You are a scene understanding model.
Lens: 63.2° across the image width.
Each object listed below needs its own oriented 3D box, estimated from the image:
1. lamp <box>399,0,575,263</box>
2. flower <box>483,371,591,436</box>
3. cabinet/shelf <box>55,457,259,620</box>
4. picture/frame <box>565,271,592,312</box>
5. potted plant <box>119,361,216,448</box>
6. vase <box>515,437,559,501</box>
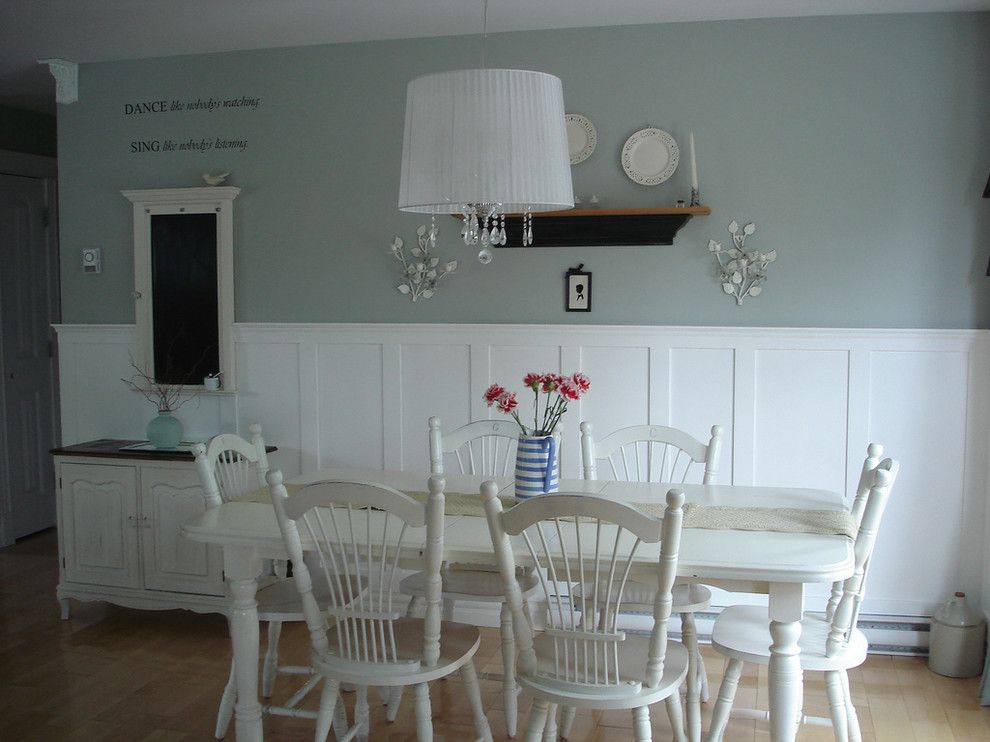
[{"bbox_3d":[-0.024,-0.892,3.219,0.759,1.195,0.735,-2,5,-11],"label":"lamp"},{"bbox_3d":[0.188,0.186,3.542,0.393,0.406,0.380,1,7,13],"label":"flower"},{"bbox_3d":[-1.997,0.914,4.754,1.047,0.977,0.421,2,8,5],"label":"cabinet/shelf"},{"bbox_3d":[0.465,-0.449,4.503,0.214,0.315,0.033,0,4,5],"label":"picture/frame"},{"bbox_3d":[-2.046,0.199,4.875,0.681,0.498,0.341,3,7,21],"label":"potted plant"},{"bbox_3d":[0.187,0.406,3.422,0.178,0.275,0.249,-1,1,-27],"label":"vase"}]
